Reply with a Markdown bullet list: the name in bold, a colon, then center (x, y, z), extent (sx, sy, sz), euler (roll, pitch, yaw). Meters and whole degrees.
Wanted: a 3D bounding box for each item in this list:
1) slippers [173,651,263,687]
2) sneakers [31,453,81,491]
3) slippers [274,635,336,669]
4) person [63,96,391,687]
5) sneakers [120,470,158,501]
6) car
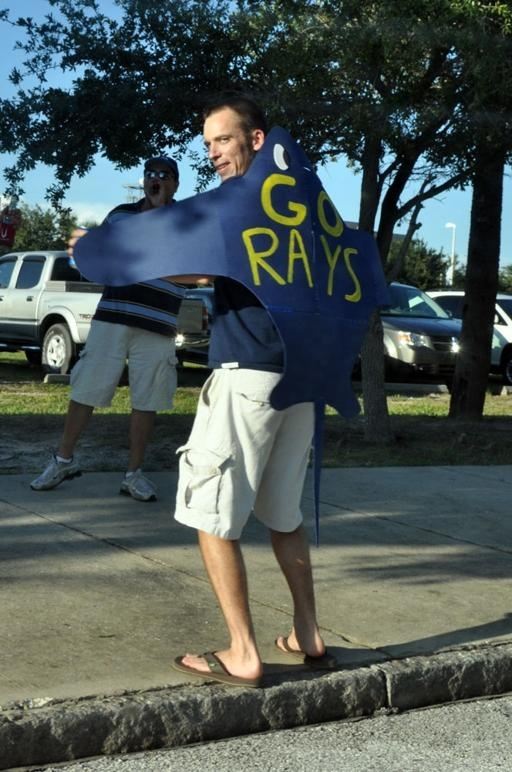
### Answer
- **slippers**: center (-0.115, 0.813, 2.310), extent (0.227, 0.053, 0.095), euler (11, 5, 27)
- **sneakers**: center (-1.310, 0.569, 5.123), extent (0.266, 0.123, 0.093), euler (-33, 48, -10)
- **slippers**: center (0.166, 0.859, 2.541), extent (0.177, 0.044, 0.065), euler (18, 17, 42)
- **person**: center (-0.039, 0.015, 2.359), extent (1.018, 1.751, 0.415), euler (1, 7, -40)
- **sneakers**: center (-0.738, 0.623, 4.936), extent (0.145, 0.114, 0.263), euler (-6, 9, -38)
- **car**: center (3.075, -1.059, 15.540), extent (2.124, 1.673, 3.817), euler (0, -1, -18)
